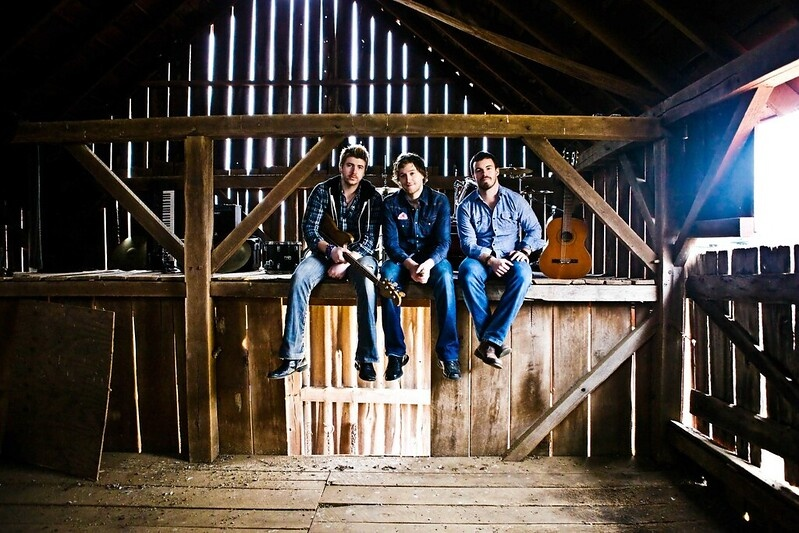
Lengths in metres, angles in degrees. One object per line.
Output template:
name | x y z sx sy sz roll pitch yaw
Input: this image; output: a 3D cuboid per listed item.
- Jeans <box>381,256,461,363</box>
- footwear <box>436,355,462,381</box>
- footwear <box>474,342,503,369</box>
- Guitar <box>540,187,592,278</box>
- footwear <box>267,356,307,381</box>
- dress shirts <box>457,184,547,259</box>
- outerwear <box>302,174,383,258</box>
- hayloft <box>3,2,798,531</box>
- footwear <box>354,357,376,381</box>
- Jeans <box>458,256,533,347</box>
Jeans | 0.302 0.516 9.400 0.818 1.279 0.931 -5 -33 6
footwear | 0.519 1.043 9.149 0.112 0.162 0.325 4 -8 -17
footwear | 0.917 0.890 9.072 0.133 0.213 0.395 2 -4 -19
Guitar | 1.835 -0.532 9.836 0.516 1.433 0.177 0 26 3
footwear | -1.167 1.056 9.205 0.459 0.244 0.173 -9 5 -28
dress shirts | 1.089 -0.412 9.587 0.891 0.984 0.526 -7 -11 20
outerwear | -0.590 -0.516 9.493 0.805 0.403 0.078 -21 -5 22
hayloft | 0.172 -0.553 10.383 8.038 5.707 4.398 2 3 16
footwear | -0.334 1.070 9.262 0.196 0.233 0.266 1 3 6
Jeans | 1.025 0.296 9.383 0.819 0.567 1.721 2 25 1
